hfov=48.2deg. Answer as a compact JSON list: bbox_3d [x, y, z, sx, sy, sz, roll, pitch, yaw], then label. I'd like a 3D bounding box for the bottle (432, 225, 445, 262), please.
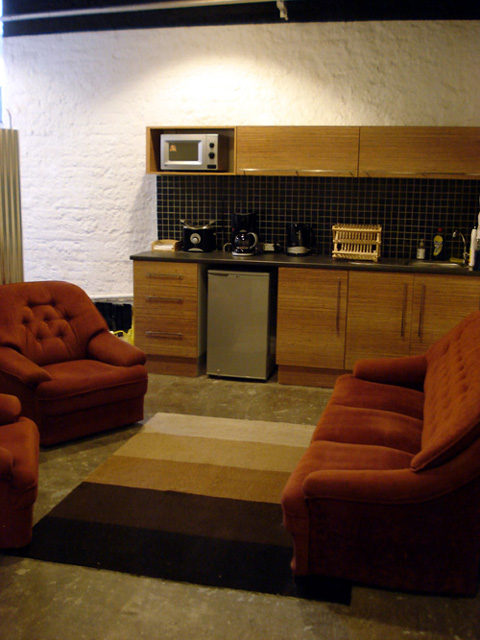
[{"bbox_3d":[1.672,-0.642,4.540,0.099,0.279,0.083,6,9,41],"label":"bottle"}]

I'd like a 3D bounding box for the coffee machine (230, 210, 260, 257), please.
[{"bbox_3d":[0.042,-0.761,4.728,0.218,0.362,0.295,0,7,-5],"label":"coffee machine"}]

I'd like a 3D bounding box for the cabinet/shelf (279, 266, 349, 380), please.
[{"bbox_3d":[0.605,0.203,4.535,0.602,1.124,0.713,7,-33,2],"label":"cabinet/shelf"}]

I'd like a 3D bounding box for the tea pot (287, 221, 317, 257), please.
[{"bbox_3d":[0.538,-0.715,4.744,0.243,0.289,0.258,0,7,0],"label":"tea pot"}]

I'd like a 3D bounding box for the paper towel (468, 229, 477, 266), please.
[{"bbox_3d":[1.783,-0.543,4.103,0.051,0.296,0.197,3,7,22],"label":"paper towel"}]

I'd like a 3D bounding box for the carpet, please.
[{"bbox_3d":[-0.323,1.000,2.610,1.185,0.029,2.153,9,-13,-4],"label":"carpet"}]

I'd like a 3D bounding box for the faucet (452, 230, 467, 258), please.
[{"bbox_3d":[1.855,-0.642,4.525,0.120,0.230,0.049,1,7,8],"label":"faucet"}]
